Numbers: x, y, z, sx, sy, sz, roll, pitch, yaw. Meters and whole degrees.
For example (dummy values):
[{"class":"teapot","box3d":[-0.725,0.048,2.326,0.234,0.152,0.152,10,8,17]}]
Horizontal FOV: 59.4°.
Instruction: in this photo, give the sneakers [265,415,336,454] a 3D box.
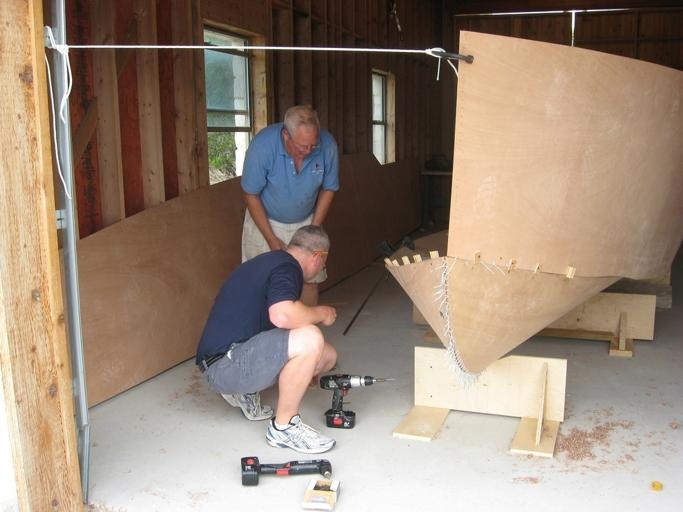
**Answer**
[{"class":"sneakers","box3d":[-0.203,0.866,2.899,0.346,0.175,0.141,5,0,2]}]

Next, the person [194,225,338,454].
[{"class":"person","box3d":[-0.350,0.274,3.218,0.892,1.284,0.922,2,16,-11]}]

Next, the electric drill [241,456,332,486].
[{"class":"electric drill","box3d":[-0.253,0.941,2.624,0.276,0.072,0.160,0,-2,-2]}]

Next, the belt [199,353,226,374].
[{"class":"belt","box3d":[-0.628,0.534,2.922,0.110,0.086,0.112,-35,-10,-18]}]

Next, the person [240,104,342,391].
[{"class":"person","box3d":[-0.315,-0.103,3.756,0.541,1.782,0.543,-2,32,-10]}]
